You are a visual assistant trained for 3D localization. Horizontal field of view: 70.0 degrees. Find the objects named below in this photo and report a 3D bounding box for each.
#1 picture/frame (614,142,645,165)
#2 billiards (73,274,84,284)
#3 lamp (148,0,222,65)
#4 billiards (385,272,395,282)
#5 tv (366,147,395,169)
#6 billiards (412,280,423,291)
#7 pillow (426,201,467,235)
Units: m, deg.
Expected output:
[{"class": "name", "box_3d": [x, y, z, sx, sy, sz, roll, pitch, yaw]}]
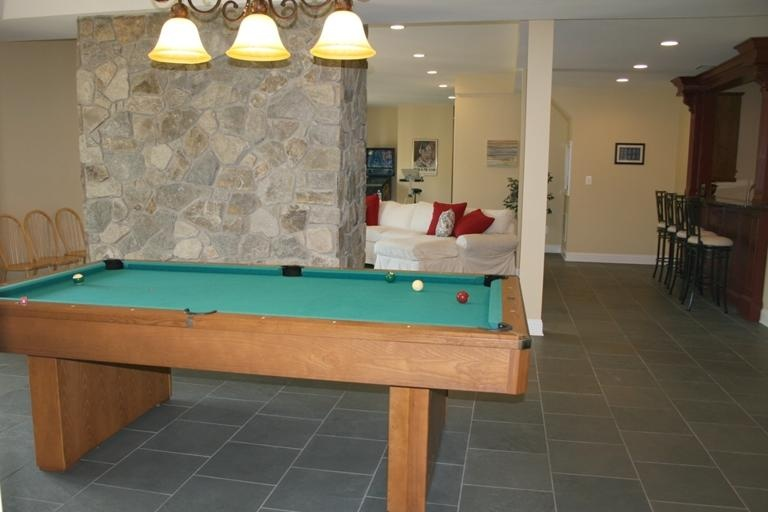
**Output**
[{"class": "picture/frame", "box_3d": [4.282, -1.789, 9.512, 0.400, 0.315, 0.031, 1, 4, 10]}, {"class": "billiards", "box_3d": [-2.183, 0.167, 3.955, 0.074, 0.066, 0.072, 1, 5, 0]}, {"class": "lamp", "box_3d": [-1.289, -1.424, 3.447, 0.320, 0.371, 0.290, 10, 17, 31]}, {"class": "billiards", "box_3d": [0.053, 0.158, 3.961, 0.067, 0.075, 0.066, 0, 2, 15]}, {"class": "tv", "box_3d": [-0.056, -2.476, 13.837, 0.714, 0.528, 0.431, 1, 14, 1]}, {"class": "billiards", "box_3d": [0.233, 0.207, 3.791, 0.071, 0.068, 0.042, 7, 6, 26]}, {"class": "pillow", "box_3d": [1.016, -0.593, 8.304, 0.532, 0.519, 0.229, -1, -14, 45]}]
